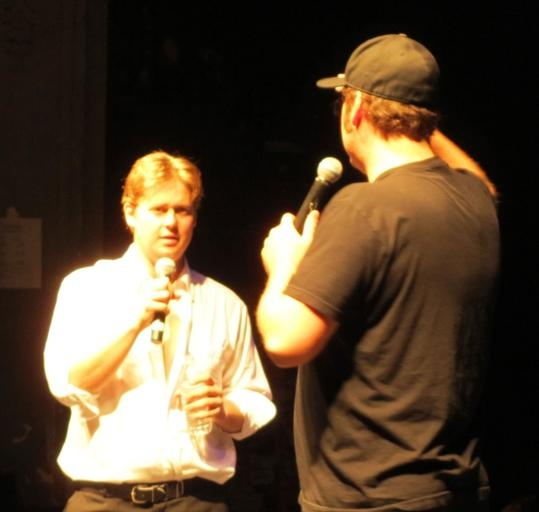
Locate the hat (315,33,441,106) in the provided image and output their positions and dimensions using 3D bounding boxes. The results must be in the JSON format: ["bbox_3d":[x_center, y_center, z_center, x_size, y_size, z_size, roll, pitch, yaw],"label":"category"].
[{"bbox_3d":[0.403,-0.623,2.821,0.284,0.184,0.229,12,15,20],"label":"hat"}]
